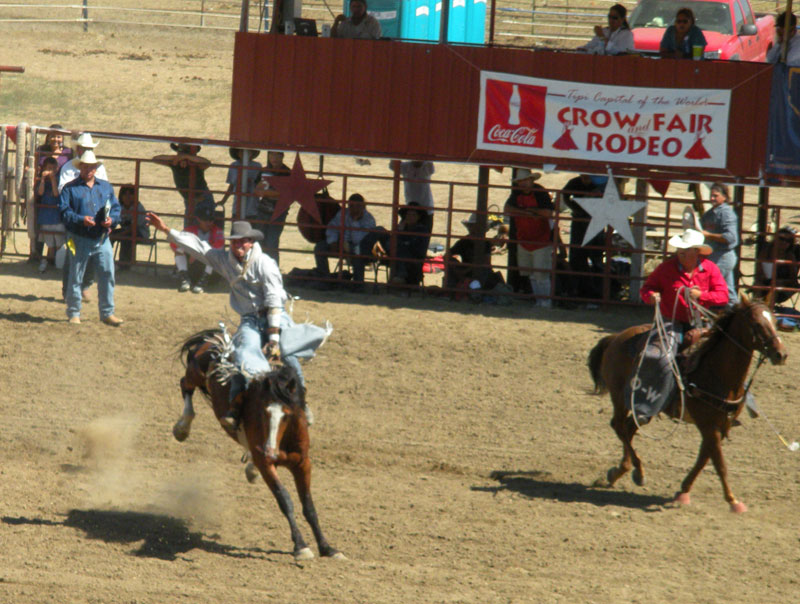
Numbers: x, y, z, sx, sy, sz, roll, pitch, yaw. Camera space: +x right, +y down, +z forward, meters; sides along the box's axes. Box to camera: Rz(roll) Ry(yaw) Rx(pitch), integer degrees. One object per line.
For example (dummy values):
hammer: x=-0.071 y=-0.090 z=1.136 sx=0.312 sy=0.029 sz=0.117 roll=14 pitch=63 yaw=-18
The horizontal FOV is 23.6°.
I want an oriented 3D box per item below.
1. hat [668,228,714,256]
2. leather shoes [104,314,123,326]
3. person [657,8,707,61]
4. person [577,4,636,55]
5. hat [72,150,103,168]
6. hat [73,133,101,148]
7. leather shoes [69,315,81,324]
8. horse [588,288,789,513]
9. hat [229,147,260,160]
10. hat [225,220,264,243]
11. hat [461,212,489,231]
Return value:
hat: x=4.130 y=-0.860 z=27.043 sx=0.455 sy=0.233 sz=0.534 roll=15 pitch=3 yaw=24
leather shoes: x=-4.614 y=0.259 z=30.786 sx=0.283 sy=0.137 sz=0.150 roll=3 pitch=28 yaw=16
person: x=4.749 y=-4.524 z=32.126 sx=0.720 sy=0.828 sz=0.718 roll=4 pitch=8 yaw=7
person: x=3.558 y=-4.650 z=32.523 sx=0.788 sy=0.845 sz=1.015 roll=-1 pitch=9 yaw=-29
hat: x=-5.064 y=-2.310 z=30.820 sx=0.481 sy=0.231 sz=0.554 roll=3 pitch=-7 yaw=-20
hat: x=-5.057 y=-2.596 z=30.670 sx=0.414 sy=0.195 sz=0.492 roll=1 pitch=8 yaw=-14
leather shoes: x=-5.217 y=0.266 z=30.672 sx=0.167 sy=0.116 sz=0.101 roll=-3 pitch=1 yaw=31
horse: x=4.076 y=1.434 z=27.567 sx=1.062 sy=3.254 sz=3.593 roll=-5 pitch=10 yaw=-40
hat: x=-2.758 y=-2.649 z=33.746 sx=0.415 sy=0.102 sz=0.418 roll=0 pitch=-16 yaw=-8
hat: x=-2.153 y=-0.972 z=26.457 sx=0.430 sy=0.275 sz=0.354 roll=2 pitch=8 yaw=-11
hat: x=1.324 y=-1.439 z=33.918 sx=0.464 sy=0.210 sz=0.531 roll=0 pitch=-5 yaw=-4
